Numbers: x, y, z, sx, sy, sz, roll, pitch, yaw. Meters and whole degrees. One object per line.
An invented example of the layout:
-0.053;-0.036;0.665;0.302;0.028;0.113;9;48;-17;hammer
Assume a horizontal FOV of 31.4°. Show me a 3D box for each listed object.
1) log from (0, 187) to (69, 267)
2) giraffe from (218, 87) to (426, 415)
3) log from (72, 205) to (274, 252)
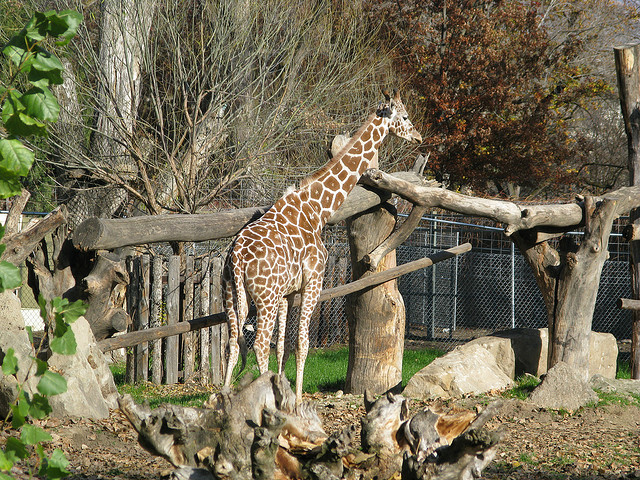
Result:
-4.529;-0.199;18.218;0.950;1.223;0.871;1;-1;-14;log
-0.092;0.135;18.944;2.792;5.146;5.889;1;-1;5;giraffe
-2.410;-0.182;19.066;3.387;0.854;0.454;-9;0;-20;log
